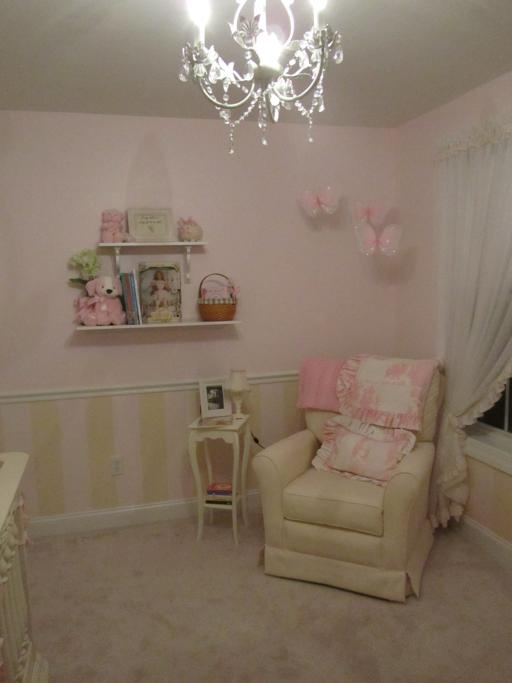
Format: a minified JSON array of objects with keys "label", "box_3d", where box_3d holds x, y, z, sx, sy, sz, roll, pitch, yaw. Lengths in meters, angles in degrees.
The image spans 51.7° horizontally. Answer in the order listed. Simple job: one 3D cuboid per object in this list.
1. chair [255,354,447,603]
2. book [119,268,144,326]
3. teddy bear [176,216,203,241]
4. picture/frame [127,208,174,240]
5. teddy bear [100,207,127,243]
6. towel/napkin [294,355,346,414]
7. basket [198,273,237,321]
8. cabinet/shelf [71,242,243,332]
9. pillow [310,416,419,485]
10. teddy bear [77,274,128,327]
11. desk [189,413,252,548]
[{"label":"chair","box_3d":[0.441,0.650,2.564,0.749,0.795,0.698,0,6,25]},{"label":"book","box_3d":[-0.688,-0.234,2.902,0.081,0.243,0.216,-8,36,-14]},{"label":"teddy bear","box_3d":[-0.378,-0.630,2.984,0.133,0.133,0.092,-3,6,-9]},{"label":"picture/frame","box_3d":[-0.600,-0.657,2.948,0.171,0.208,0.028,6,-4,-14]},{"label":"teddy bear","box_3d":[-0.784,-0.631,2.889,0.156,0.202,0.166,-4,6,-14]},{"label":"towel/napkin","box_3d":[0.306,0.235,2.872,0.257,0.281,0.083,1,-9,30]},{"label":"basket","box_3d":[-0.245,-0.256,3.105,0.221,0.320,0.230,-3,-6,6]},{"label":"cabinet/shelf","box_3d":[-0.554,-0.371,3.016,0.701,0.456,0.419,5,6,-8]},{"label":"pillow","box_3d":[0.531,0.546,2.613,0.486,0.158,0.355,12,45,32]},{"label":"teddy bear","box_3d":[-0.836,-0.220,2.860,0.255,0.272,0.151,-2,17,-31]},{"label":"desk","box_3d":[-0.204,0.728,2.995,0.364,0.652,0.638,-2,5,-1]}]
